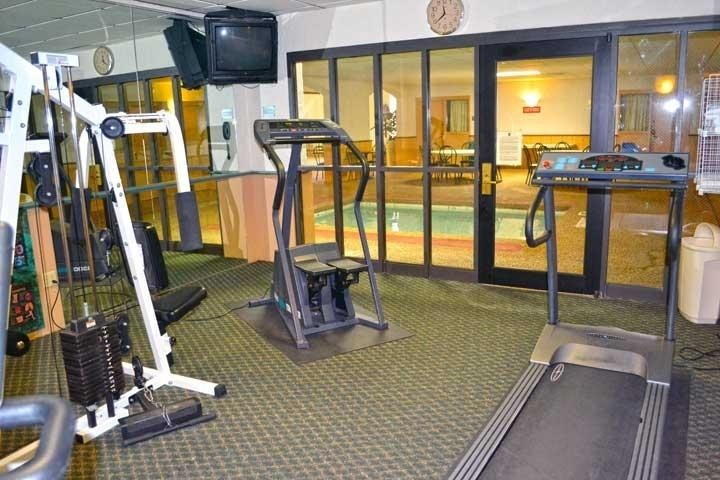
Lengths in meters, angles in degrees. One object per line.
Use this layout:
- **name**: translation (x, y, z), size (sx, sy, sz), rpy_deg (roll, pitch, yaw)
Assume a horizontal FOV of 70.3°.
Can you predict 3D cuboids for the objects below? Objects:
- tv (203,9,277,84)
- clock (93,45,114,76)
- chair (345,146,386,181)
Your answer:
- **tv**: translation (-1.465, -2.298, 6.078), size (0.808, 0.725, 0.433), rpy_deg (-9, 26, -28)
- **clock**: translation (-2.718, -1.887, 5.408), size (0.046, 0.305, 0.252), rpy_deg (3, 13, 28)
- **chair**: translation (-0.005, -1.016, 6.717), size (0.428, 0.570, 0.402), rpy_deg (6, 10, 43)
